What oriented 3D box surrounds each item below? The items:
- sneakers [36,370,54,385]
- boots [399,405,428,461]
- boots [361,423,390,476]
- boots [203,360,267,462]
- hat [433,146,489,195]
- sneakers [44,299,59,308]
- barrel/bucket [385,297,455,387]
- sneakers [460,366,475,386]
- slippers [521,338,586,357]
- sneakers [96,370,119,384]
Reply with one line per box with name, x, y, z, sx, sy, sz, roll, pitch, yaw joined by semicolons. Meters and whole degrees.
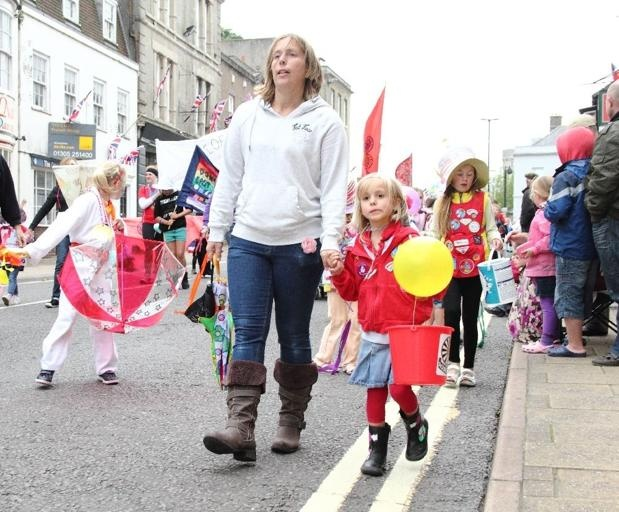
sneakers;-2.170;0.975;4.939;0.124;0.131;0.226;-2;2;-24
boots;0.549;0.939;3.185;0.135;0.293;0.164;-1;2;14
boots;0.345;0.968;3.120;0.135;0.246;0.259;-1;2;11
boots;-0.376;0.798;3.099;0.209;0.485;0.428;-1;2;11
hat;1.290;-0.744;5.176;0.478;0.395;0.395;0;2;29
sneakers;-4.111;0.766;9.635;0.161;0.170;0.427;0;-7;0
barrel/bucket;0.548;0.484;2.954;0.321;0.327;0.254;-1;2;-1
sneakers;1.300;0.984;4.994;0.139;0.136;0.185;-1;2;14
slippers;2.359;0.877;5.922;0.481;0.191;0.173;0;-6;29
sneakers;-1.669;1.002;4.995;0.084;0.087;0.198;6;-10;-44
